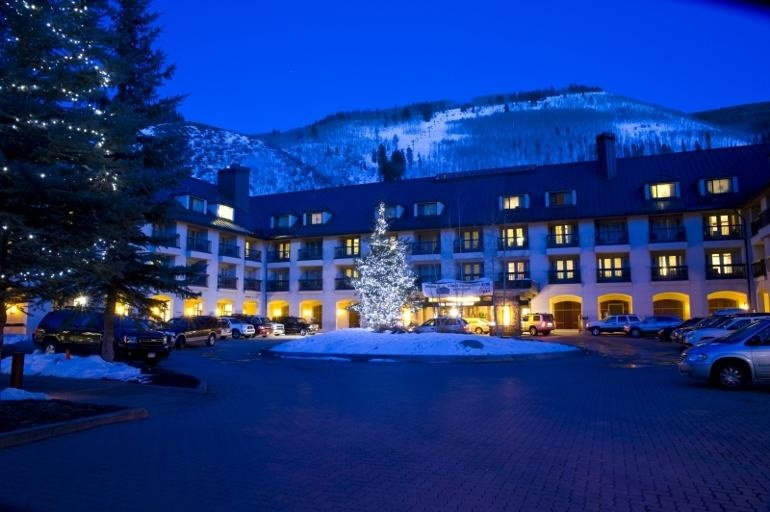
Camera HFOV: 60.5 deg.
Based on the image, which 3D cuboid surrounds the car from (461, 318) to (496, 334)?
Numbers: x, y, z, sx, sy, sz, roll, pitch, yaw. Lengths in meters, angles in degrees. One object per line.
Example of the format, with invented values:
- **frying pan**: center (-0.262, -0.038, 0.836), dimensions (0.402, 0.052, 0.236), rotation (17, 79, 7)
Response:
- **car**: center (7.092, 5.209, 48.711), dimensions (3.130, 1.024, 1.323), rotation (1, -4, 22)

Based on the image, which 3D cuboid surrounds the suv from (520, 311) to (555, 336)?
- **suv**: center (11.511, 5.188, 50.274), dimensions (1.568, 1.341, 2.690), rotation (3, 0, -43)

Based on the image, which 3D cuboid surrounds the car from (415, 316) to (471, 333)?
- **car**: center (3.775, 4.338, 41.123), dimensions (2.579, 0.908, 1.374), rotation (2, -8, 7)
